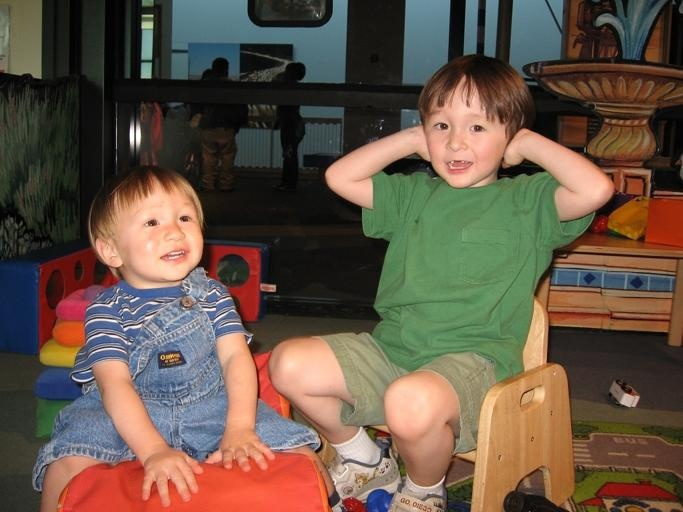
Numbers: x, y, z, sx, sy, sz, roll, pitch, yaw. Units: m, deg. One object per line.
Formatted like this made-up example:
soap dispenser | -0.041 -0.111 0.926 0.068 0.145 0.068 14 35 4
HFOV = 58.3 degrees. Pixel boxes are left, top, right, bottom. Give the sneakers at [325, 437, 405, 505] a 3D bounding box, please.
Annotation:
sneakers | 0.066 0.576 1.648 0.259 0.115 0.092 -1 5 -21
